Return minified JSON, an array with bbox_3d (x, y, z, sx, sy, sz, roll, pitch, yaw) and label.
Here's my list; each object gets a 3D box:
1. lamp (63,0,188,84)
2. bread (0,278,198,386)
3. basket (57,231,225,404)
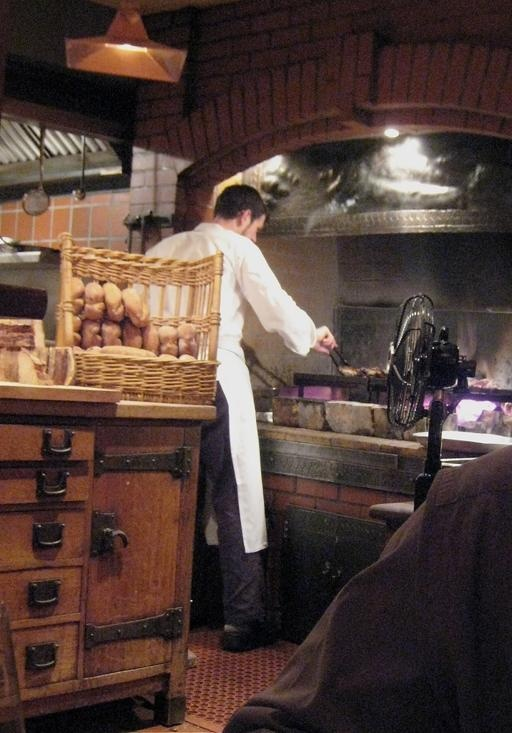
[{"bbox_3d":[-0.453,-1.138,2.200,0.404,0.259,0.236,3,0,-14],"label":"lamp"},{"bbox_3d":[-0.488,-0.114,2.048,0.722,0.218,0.552,2,4,-41],"label":"bread"},{"bbox_3d":[-0.400,-0.072,2.220,0.664,0.604,0.573,6,-4,-36],"label":"basket"}]
